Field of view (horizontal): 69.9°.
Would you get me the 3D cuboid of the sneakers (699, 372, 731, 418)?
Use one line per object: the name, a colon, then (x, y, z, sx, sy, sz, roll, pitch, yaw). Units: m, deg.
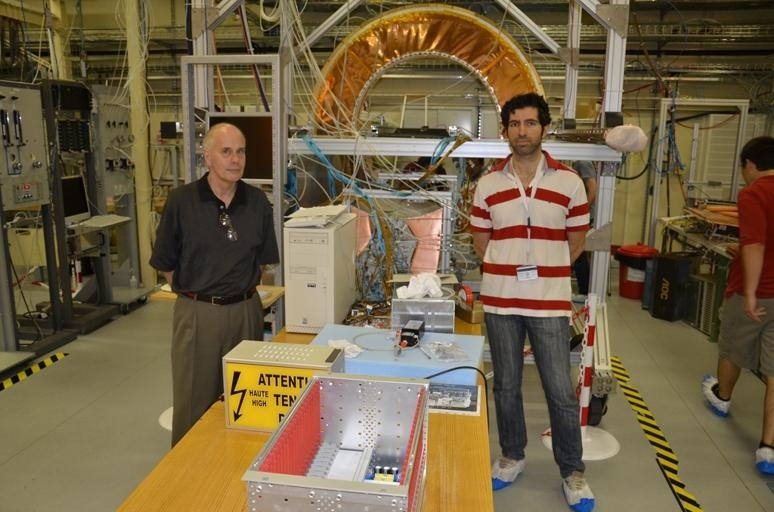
sneakers: (2.641, 1.118, 4.510, 0.127, 0.155, 0.357, -3, 19, 5)

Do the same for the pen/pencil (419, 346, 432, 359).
pen/pencil: (0.216, 0.533, 3.080, 0.023, 0.017, 0.116, -5, 20, -13)

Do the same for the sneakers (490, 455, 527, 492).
sneakers: (0.811, 1.389, 3.636, 0.157, 0.117, 0.291, 4, 18, 44)

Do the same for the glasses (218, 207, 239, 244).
glasses: (-0.934, -0.190, 3.240, 0.052, 0.165, 0.159, -13, 26, -23)

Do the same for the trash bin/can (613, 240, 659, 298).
trash bin/can: (2.947, 0.156, 6.915, 0.627, 0.746, 0.612, 5, 14, 20)

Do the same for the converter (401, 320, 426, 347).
converter: (0.139, 0.439, 3.182, 0.090, 0.073, 0.157, 3, 20, 12)

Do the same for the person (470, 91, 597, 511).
person: (0.899, 0.318, 3.382, 0.786, 2.555, 0.312, 2, 11, 8)

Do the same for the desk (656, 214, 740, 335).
desk: (3.114, 0.215, 5.503, 0.579, 0.771, 1.074, 3, 16, 14)
